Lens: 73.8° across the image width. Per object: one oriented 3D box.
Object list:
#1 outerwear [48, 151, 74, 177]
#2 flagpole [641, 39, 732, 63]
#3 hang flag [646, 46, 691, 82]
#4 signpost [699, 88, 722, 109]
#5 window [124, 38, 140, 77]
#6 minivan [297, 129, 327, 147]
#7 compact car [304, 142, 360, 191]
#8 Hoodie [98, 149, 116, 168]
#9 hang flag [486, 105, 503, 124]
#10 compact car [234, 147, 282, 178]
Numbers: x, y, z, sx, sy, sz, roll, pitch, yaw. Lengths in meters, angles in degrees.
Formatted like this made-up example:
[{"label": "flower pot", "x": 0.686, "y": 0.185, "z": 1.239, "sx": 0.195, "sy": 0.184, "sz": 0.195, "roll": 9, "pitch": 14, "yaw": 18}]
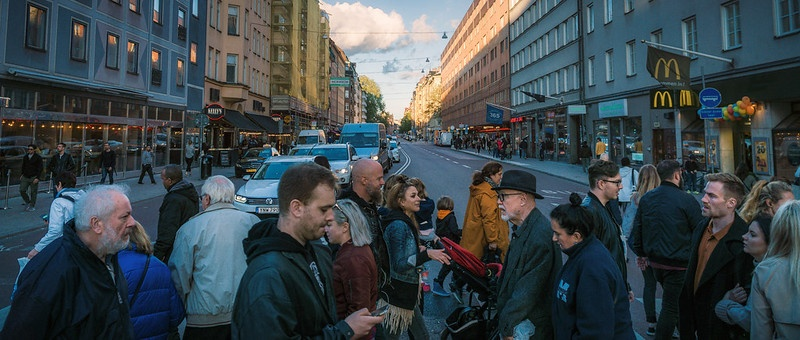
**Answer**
[{"label": "outerwear", "x": -22.948, "y": -0.363, "z": 35.958, "sx": 1.983, "sy": 2.106, "sz": 0.864, "roll": 1, "pitch": -7, "yaw": -19}, {"label": "flagpole", "x": 22.383, "y": -9.218, "z": 41.096, "sx": 7.713, "sy": 1.016, "sz": 1.301, "roll": 9, "pitch": 16, "yaw": 5}, {"label": "hang flag", "x": 20.487, "y": -8.070, "z": 40.498, "sx": 3.240, "sy": 2.424, "sz": 0.223, "roll": 6, "pitch": 9, "yaw": -2}, {"label": "signpost", "x": 21.897, "y": -5.092, "z": 37.597, "sx": 2.004, "sy": 1.858, "sz": 0.257, "roll": -1, "pitch": 5, "yaw": -8}, {"label": "window", "x": -22.276, "y": -9.350, "z": 44.384, "sx": 0.265, "sy": 2.694, "sz": 1.157, "roll": 2, "pitch": 5, "yaw": 22}, {"label": "minivan", "x": -8.450, "y": -3.073, "z": 50.424, "sx": 1.727, "sy": 1.530, "sz": 2.881, "roll": -1, "pitch": 0, "yaw": -2}, {"label": "compact car", "x": -5.378, "y": -0.642, "z": 42.079, "sx": 3.444, "sy": 3.324, "sz": 6.865, "roll": 4, "pitch": 10, "yaw": 2}, {"label": "Hoodie", "x": -22.391, "y": -0.901, "z": 40.678, "sx": 1.558, "sy": 1.918, "sz": 1.084, "roll": -1, "pitch": -2, "yaw": -21}, {"label": "hang flag", "x": 11.338, "y": -6.717, "z": 64.084, "sx": 2.610, "sy": 2.574, "sz": 0.259, "roll": 0, "pitch": -16, "yaw": 44}, {"label": "compact car", "x": -12.821, "y": -0.752, "z": 46.132, "sx": 2.512, "sy": 1.891, "sz": 5.272, "roll": -2, "pitch": 2, "yaw": 2}]
